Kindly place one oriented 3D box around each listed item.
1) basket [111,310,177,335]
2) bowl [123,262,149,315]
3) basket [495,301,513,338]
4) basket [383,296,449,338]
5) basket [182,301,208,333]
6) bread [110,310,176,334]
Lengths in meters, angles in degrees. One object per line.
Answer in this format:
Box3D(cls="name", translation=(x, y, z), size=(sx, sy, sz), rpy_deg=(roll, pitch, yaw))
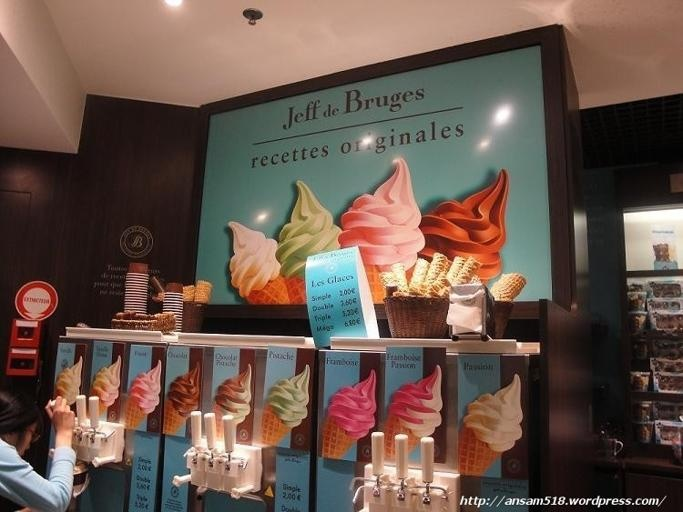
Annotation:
Box3D(cls="basket", translation=(-1.071, 0.361, 2.821), size=(0.223, 0.082, 0.166), rpy_deg=(4, -6, -14))
Box3D(cls="bowl", translation=(-1.283, 0.189, 3.250), size=(0.138, 0.350, 0.405), rpy_deg=(3, -9, -21))
Box3D(cls="basket", translation=(0.692, 0.268, 2.181), size=(0.041, 0.157, 0.203), rpy_deg=(-6, -10, 35))
Box3D(cls="basket", translation=(0.320, 0.256, 2.168), size=(0.265, 0.175, 0.144), rpy_deg=(-1, -8, 8))
Box3D(cls="basket", translation=(-0.901, 0.390, 3.165), size=(0.164, 0.195, 0.167), rpy_deg=(6, -19, -22))
Box3D(cls="bread", translation=(-1.073, 0.361, 2.820), size=(0.222, 0.081, 0.166), rpy_deg=(5, -7, -11))
